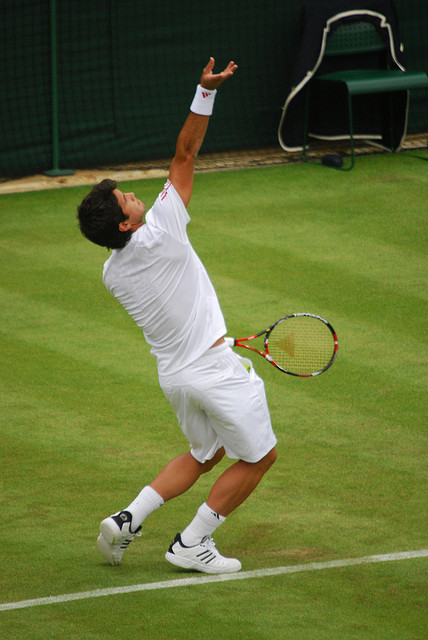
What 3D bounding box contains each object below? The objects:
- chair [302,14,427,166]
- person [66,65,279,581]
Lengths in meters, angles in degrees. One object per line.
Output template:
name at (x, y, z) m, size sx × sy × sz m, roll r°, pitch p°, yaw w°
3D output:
chair at (2.121, -3.323, 10.509) m, size 1.518 × 2.282 × 1.857 m, roll -2°, pitch 4°, yaw -9°
person at (-0.148, 0.028, 2.859) m, size 0.759 × 1.955 × 0.448 m, roll -1°, pitch 4°, yaw 3°
